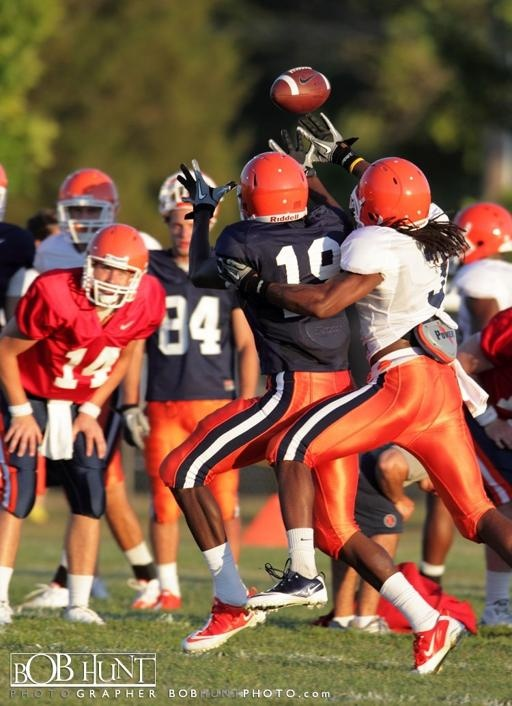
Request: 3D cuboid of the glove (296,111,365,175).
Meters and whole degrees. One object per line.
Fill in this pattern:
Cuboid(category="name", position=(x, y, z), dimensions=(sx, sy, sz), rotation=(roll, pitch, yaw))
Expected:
Cuboid(category="glove", position=(0.333, -0.882, 3.819), dimensions=(0.196, 0.171, 0.399), rotation=(-33, 38, -17))

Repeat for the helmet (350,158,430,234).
Cuboid(category="helmet", position=(0.451, -0.563, 3.249), dimensions=(0.259, 0.222, 0.292), rotation=(-15, 41, -25))

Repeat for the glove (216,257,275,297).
Cuboid(category="glove", position=(-0.044, -0.260, 3.118), dimensions=(0.185, 0.140, 0.070), rotation=(2, -9, 5))

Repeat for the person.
Cuboid(category="person", position=(0.085, 0.160, 3.280), dimensions=(1.530, 1.785, 0.604), rotation=(-1, -10, 25))

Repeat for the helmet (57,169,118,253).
Cuboid(category="helmet", position=(-0.798, -0.699, 4.355), dimensions=(0.361, 0.357, 0.417), rotation=(1, 9, 3))

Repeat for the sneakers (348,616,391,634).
Cuboid(category="sneakers", position=(0.488, 1.149, 3.898), dimensions=(0.198, 0.061, 0.057), rotation=(3, 0, -2))

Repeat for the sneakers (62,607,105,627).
Cuboid(category="sneakers", position=(-0.707, 1.079, 3.786), dimensions=(0.203, 0.061, 0.068), rotation=(3, -7, 4))

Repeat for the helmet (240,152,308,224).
Cuboid(category="helmet", position=(0.072, -0.574, 3.255), dimensions=(0.255, 0.210, 0.285), rotation=(-1, 21, -6))

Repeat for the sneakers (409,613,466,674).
Cuboid(category="sneakers", position=(0.620, 0.955, 3.103), dimensions=(0.253, 0.128, 0.087), rotation=(-49, 7, -29))

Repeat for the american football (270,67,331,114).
Cuboid(category="american football", position=(0.171, -1.080, 3.788), dimensions=(0.291, 0.150, 0.198), rotation=(-25, 40, -36))

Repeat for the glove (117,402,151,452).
Cuboid(category="glove", position=(-0.630, 0.373, 4.541), dimensions=(0.089, 0.198, 0.183), rotation=(-6, 3, 33))

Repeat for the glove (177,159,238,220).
Cuboid(category="glove", position=(-0.176, -0.616, 3.631), dimensions=(0.260, 0.235, 0.115), rotation=(18, 3, 23))

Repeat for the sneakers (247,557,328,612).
Cuboid(category="sneakers", position=(0.039, 0.795, 3.080), dimensions=(0.398, 0.115, 0.201), rotation=(1, 55, -6))
